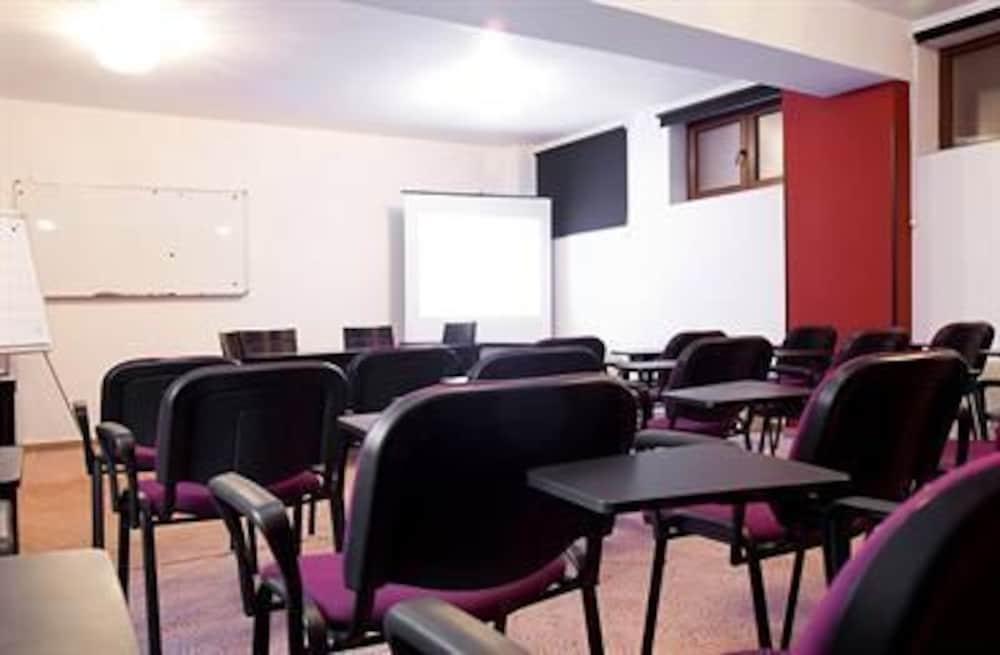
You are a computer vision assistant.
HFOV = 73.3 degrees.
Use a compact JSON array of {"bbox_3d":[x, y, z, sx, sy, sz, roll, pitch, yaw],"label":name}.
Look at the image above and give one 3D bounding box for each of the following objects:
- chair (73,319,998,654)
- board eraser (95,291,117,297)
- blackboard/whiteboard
[{"bbox_3d":[0.054,0.473,1.473,1.490,0.746,0.609,-1,3,-6],"label":"chair"},{"bbox_3d":[-3.672,-0.313,6.303,0.200,0.053,0.046,2,39,-35],"label":"board eraser"},{"bbox_3d":[-3.420,-0.830,6.159,1.469,0.817,0.056,0,-2,-30],"label":"blackboard/whiteboard"}]
